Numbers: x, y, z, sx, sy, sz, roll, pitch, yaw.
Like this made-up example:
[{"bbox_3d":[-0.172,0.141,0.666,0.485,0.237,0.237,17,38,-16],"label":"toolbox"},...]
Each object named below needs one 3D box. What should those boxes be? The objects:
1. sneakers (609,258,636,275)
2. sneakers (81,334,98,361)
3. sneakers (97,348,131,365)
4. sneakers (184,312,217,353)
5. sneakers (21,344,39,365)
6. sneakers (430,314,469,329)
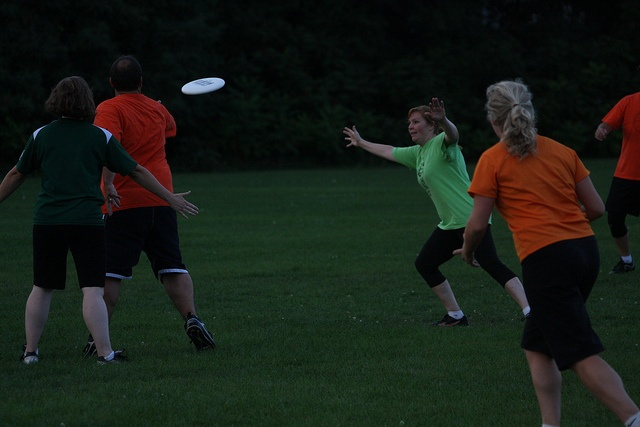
[{"bbox_3d":[4.895,0.892,15.130,0.515,0.206,0.172,-5,1,2],"label":"sneakers"},{"bbox_3d":[-3.269,1.876,12.888,0.139,0.170,0.414,-6,35,30],"label":"sneakers"},{"bbox_3d":[-2.846,1.989,12.720,0.454,0.180,0.158,4,-5,-27],"label":"sneakers"},{"bbox_3d":[-1.699,1.740,13.076,0.275,0.640,0.294,-25,36,15],"label":"sneakers"},{"bbox_3d":[-4.008,1.968,12.651,0.134,0.143,0.350,0,7,-8],"label":"sneakers"},{"bbox_3d":[1.930,1.601,13.723,0.536,0.218,0.195,2,-2,2],"label":"sneakers"}]
